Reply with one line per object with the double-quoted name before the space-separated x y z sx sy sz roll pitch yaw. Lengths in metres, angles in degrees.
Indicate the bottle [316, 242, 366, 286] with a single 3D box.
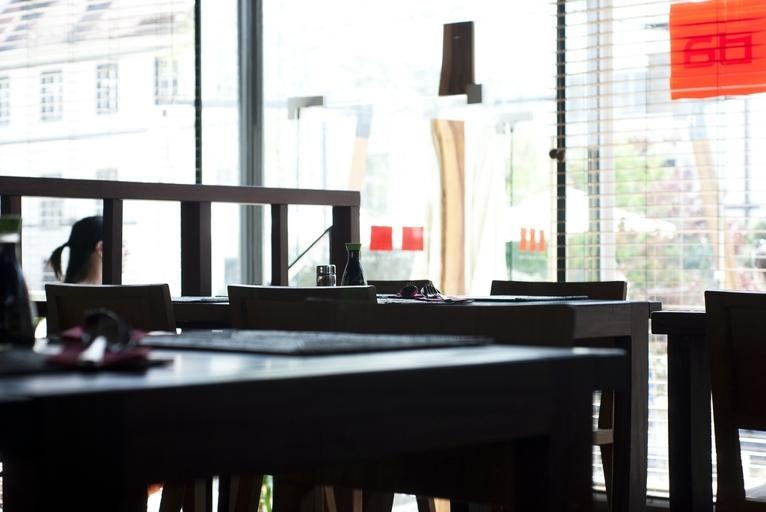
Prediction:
"bottle" -0.150 0.029 3.075 0.164 0.162 0.073 -3 -7 25
